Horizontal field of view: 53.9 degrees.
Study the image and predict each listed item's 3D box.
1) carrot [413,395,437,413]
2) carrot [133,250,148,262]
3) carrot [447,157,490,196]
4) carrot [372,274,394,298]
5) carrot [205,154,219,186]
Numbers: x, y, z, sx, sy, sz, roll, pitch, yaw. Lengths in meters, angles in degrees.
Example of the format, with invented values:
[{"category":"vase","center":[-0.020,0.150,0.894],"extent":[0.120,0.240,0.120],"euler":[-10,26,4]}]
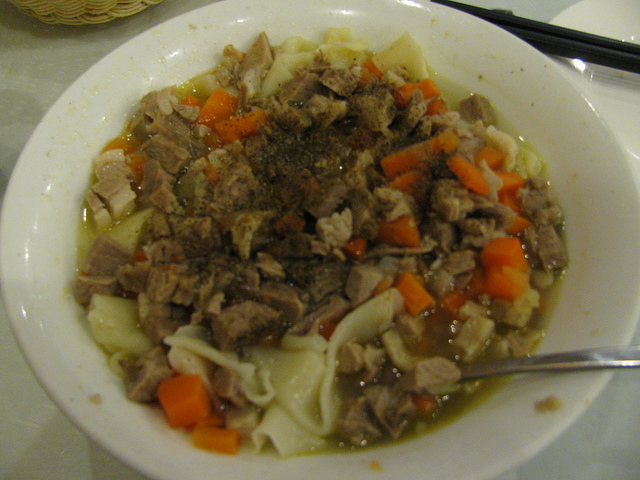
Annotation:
[{"category":"carrot","center":[0.867,1.335,5.152],"extent":[0.174,0.033,0.137],"euler":[-16,85,-3]},{"category":"carrot","center":[-1.588,0.162,5.572],"extent":[0.104,0.110,0.086],"euler":[8,80,-17]},{"category":"carrot","center":[1.308,-0.551,5.488],"extent":[0.465,0.073,0.177],"euler":[37,84,2]},{"category":"carrot","center":[0.542,0.406,5.501],"extent":[0.119,0.046,0.200],"euler":[39,82,28]},{"category":"carrot","center":[-0.991,-0.622,5.801],"extent":[0.070,0.088,0.344],"euler":[-20,80,12]}]
